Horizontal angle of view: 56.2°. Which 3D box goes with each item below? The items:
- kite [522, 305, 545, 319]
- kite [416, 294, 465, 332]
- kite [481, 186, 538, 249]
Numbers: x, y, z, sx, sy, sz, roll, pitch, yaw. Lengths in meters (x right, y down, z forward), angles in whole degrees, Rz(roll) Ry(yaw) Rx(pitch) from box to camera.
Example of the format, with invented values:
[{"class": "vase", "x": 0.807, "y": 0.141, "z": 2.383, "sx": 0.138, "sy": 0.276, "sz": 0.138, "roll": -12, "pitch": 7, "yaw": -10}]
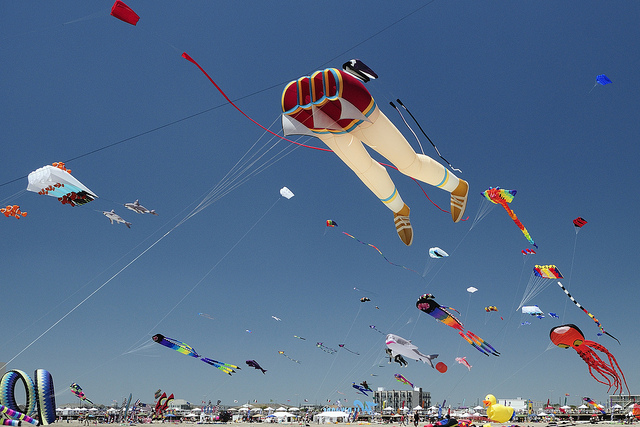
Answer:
[{"class": "kite", "x": 15.970, "y": 7.478, "z": 44.917, "sx": 0.831, "sy": 0.643, "sz": 2.031, "roll": -13, "pitch": -37, "yaw": 37}, {"class": "kite", "x": 7.911, "y": 6.760, "z": 39.829, "sx": 1.744, "sy": 1.779, "sz": 3.468, "roll": -18, "pitch": -40, "yaw": 42}, {"class": "kite", "x": 12.497, "y": 0.137, "z": 38.261, "sx": 5.138, "sy": 1.070, "sz": 2.616, "roll": 53, "pitch": -27, "yaw": -10}]
